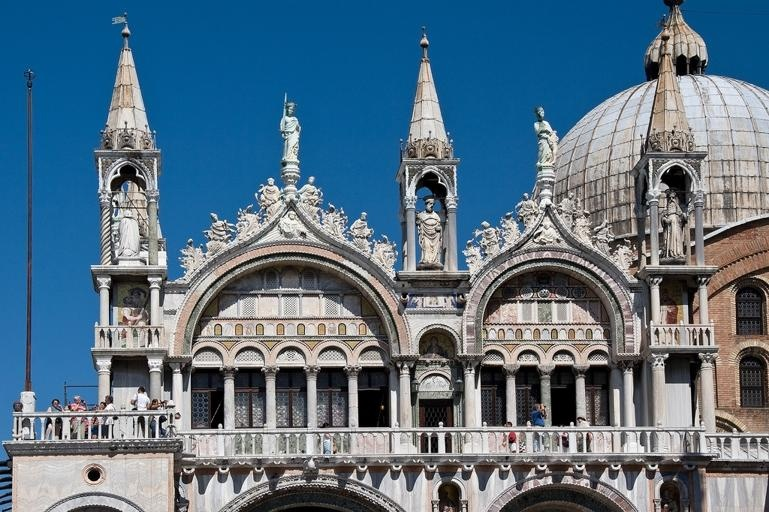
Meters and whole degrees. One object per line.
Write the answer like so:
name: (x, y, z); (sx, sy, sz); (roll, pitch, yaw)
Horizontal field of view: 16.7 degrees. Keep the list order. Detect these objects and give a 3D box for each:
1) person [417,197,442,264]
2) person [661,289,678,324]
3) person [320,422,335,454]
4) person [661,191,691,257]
person: (1.838, -0.828, 106.421); (1.114, 3.034, 0.657); (1, -19, -8)
person: (11.546, 2.167, 106.418); (0.654, 1.372, 0.262); (-2, -19, 1)
person: (-2.160, 7.455, 101.842); (0.443, 0.952, 0.247); (0, -19, -3)
person: (11.841, -1.145, 107.310); (1.245, 3.292, 0.760); (-8, -20, 18)
